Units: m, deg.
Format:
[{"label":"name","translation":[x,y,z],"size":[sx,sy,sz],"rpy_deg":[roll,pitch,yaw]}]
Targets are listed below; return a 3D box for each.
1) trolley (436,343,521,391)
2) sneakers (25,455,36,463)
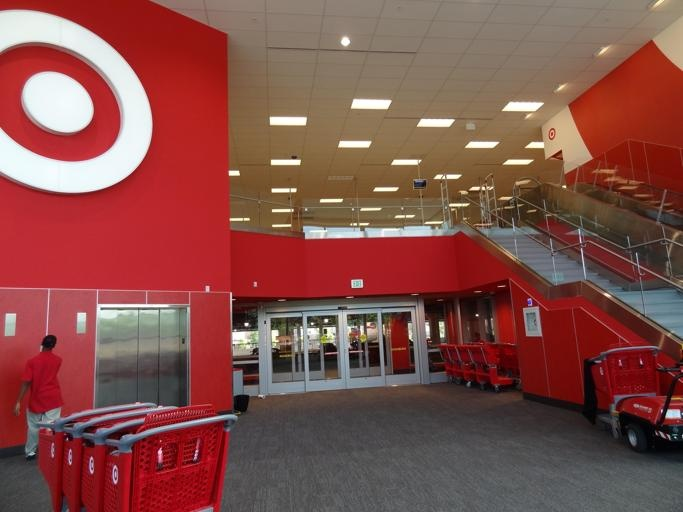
[{"label":"trolley","translation":[4.211,3.221,13.199],"size":[1.483,1.258,2.653],"rpy_deg":[0,-9,-19]},{"label":"sneakers","translation":[-4.803,3.134,6.860],"size":[0.140,0.099,0.073],"rpy_deg":[-2,1,-6]}]
